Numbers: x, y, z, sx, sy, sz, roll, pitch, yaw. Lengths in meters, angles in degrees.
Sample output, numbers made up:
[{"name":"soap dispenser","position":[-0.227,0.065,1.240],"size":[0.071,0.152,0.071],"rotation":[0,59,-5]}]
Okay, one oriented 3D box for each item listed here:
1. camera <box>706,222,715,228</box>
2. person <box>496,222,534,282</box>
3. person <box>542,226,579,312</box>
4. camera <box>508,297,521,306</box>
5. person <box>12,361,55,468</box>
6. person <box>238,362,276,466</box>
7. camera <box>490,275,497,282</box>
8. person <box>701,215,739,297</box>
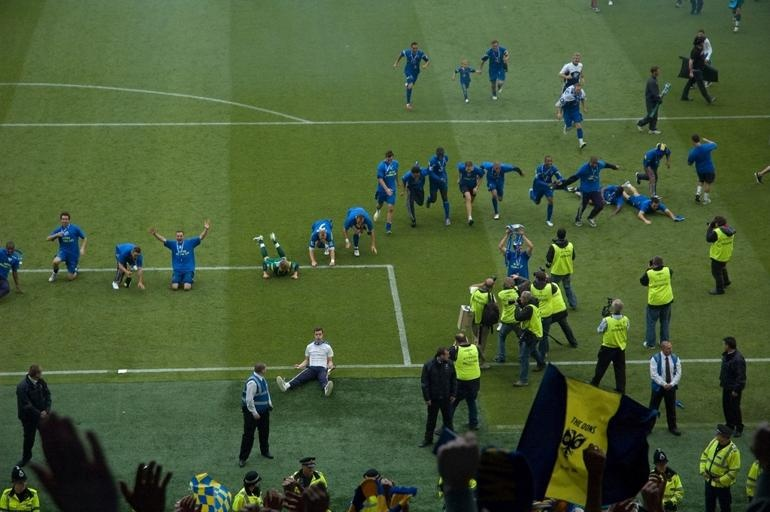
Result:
[{"name":"camera","position":[10.562,-1.011,43.222],"size":[0.191,0.223,0.216],"rotation":[14,-3,-23]},{"name":"person","position":[4.146,-0.144,42.606],"size":[0.941,1.881,0.940],"rotation":[2,0,-4]},{"name":"person","position":[5.619,0.410,42.395],"size":[0.982,2.611,0.970],"rotation":[2,-1,-20]},{"name":"camera","position":[3.830,1.361,39.916],"size":[0.239,0.080,0.165],"rotation":[-3,8,-3]},{"name":"person","position":[-9.723,4.511,37.216],"size":[0.998,2.973,1.239],"rotation":[12,17,31]},{"name":"person","position":[-3.644,4.375,37.221],"size":[0.759,2.707,1.189],"rotation":[5,9,31]},{"name":"camera","position":[3.538,0.697,43.590],"size":[0.190,0.229,0.226],"rotation":[-18,40,-19]},{"name":"person","position":[10.711,-0.064,42.727],"size":[0.906,2.469,0.943],"rotation":[12,23,42]}]
